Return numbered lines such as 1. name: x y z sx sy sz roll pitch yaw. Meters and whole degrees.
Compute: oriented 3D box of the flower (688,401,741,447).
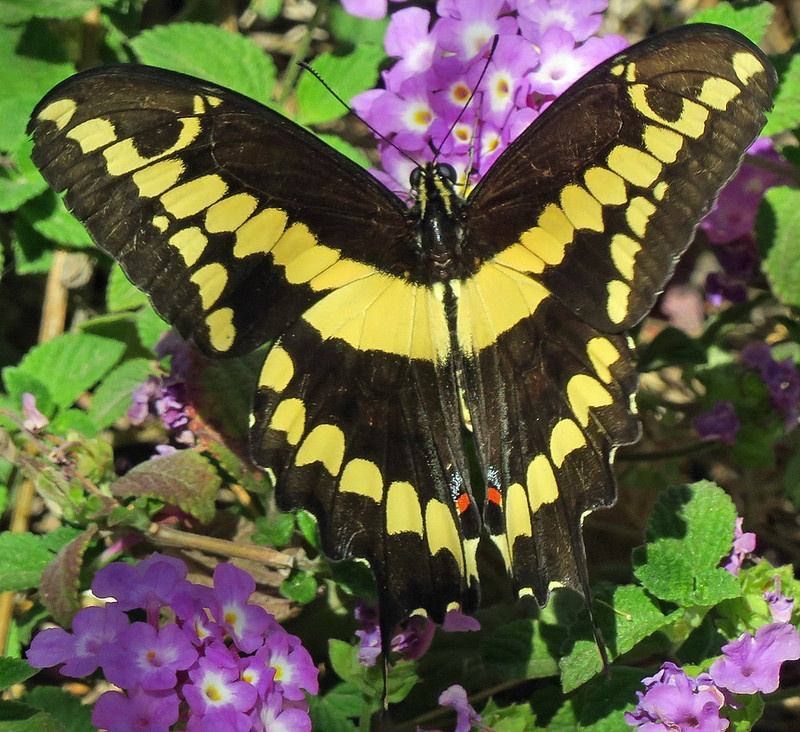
1. flower: 0.671 0.119 2.021 0.098 0.086 0.038 -2 1 22
